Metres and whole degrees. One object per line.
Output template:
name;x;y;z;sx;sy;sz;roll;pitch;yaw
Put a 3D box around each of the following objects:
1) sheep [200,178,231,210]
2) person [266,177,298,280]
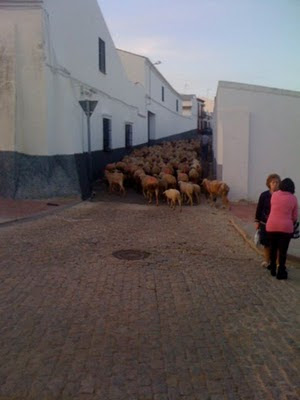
sheep;2.102;-0.312;10.922;0.265;0.723;1.079;-11;20;-37
person;1.875;0.390;4.788;0.357;1.381;0.349;-3;7;-32
